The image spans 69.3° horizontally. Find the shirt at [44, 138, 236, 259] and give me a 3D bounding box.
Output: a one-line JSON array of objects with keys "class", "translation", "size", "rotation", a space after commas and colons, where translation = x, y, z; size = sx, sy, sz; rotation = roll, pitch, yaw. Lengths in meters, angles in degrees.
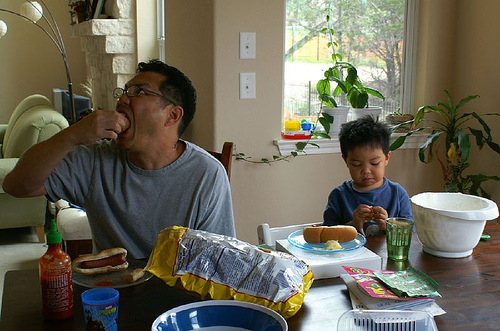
[{"class": "shirt", "translation": [-0.425, 0.188, 1.593], "size": [0.832, 0.613, 0.415], "rotation": [6, 19, -1]}]

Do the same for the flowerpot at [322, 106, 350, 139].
[{"class": "flowerpot", "translation": [0.654, -0.345, 2.907], "size": [0.244, 0.236, 0.233], "rotation": [1, 3, 2]}]

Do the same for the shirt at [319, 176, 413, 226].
[{"class": "shirt", "translation": [0.596, 0.181, 1.851], "size": [0.331, 0.312, 0.131], "rotation": [6, -26, 3]}]

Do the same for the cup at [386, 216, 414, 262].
[{"class": "cup", "translation": [0.549, 0.271, 1.346], "size": [0.110, 0.131, 0.097], "rotation": [0, 1, 8]}]

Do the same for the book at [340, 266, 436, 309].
[{"class": "book", "translation": [0.422, 0.366, 1.103], "size": [0.226, 0.073, 0.178], "rotation": [-5, 9, -13]}]

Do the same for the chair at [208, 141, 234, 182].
[{"class": "chair", "translation": [-0.200, -0.033, 2.063], "size": [0.140, 0.130, 0.170], "rotation": [27, 14, 6]}]

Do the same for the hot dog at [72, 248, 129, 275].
[{"class": "hot dog", "translation": [-0.478, 0.312, 1.162], "size": [0.147, 0.048, 0.077], "rotation": [4, 52, -11]}]

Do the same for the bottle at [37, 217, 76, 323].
[{"class": "bottle", "translation": [-0.554, 0.280, 1.024], "size": [0.093, 0.264, 0.175], "rotation": [-8, 11, -27]}]

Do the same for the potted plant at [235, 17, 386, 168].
[{"class": "potted plant", "translation": [0.594, -0.467, 3.170], "size": [1.398, 0.839, 1.110], "rotation": [0, 0, 8]}]

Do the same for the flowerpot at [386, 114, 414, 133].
[{"class": "flowerpot", "translation": [1.208, -0.324, 2.891], "size": [0.164, 0.110, 0.166], "rotation": [-1, 0, -12]}]

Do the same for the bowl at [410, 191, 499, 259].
[{"class": "bowl", "translation": [0.768, 0.187, 1.376], "size": [0.285, 0.179, 0.272], "rotation": [0, 5, 0]}]
